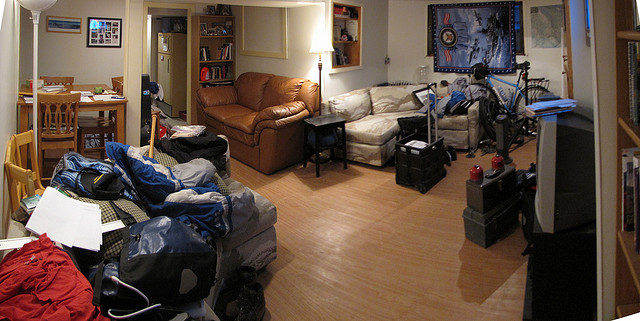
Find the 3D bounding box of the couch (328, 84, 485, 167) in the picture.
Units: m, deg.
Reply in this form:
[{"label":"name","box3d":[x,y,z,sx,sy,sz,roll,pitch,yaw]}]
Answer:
[{"label":"couch","box3d":[1.511,-0.792,7.654,2.076,0.916,2.119,9,19,37]}]

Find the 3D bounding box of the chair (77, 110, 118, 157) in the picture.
[{"label":"chair","box3d":[-3.635,-0.427,6.751,0.464,0.778,0.482,-10,15,-43]}]

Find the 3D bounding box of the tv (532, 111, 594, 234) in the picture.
[{"label":"tv","box3d":[2.711,0.119,4.571,0.640,1.262,0.450,-2,14,4]}]

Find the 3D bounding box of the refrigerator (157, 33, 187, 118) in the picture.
[{"label":"refrigerator","box3d":[-3.886,-2.177,10.158,1.154,1.927,0.853,2,3,43]}]

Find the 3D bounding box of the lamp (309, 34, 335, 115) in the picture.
[{"label":"lamp","box3d":[0.021,-1.635,7.588,0.359,1.230,0.330,-9,13,-43]}]

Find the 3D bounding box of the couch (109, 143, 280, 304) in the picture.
[{"label":"couch","box3d":[-1.417,0.625,4.975,1.542,1.490,1.080,6,17,31]}]

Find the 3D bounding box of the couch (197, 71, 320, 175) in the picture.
[{"label":"couch","box3d":[-1.027,-0.618,7.337,0.915,0.848,1.940,-17,28,-38]}]

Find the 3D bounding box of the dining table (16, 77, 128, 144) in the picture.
[{"label":"dining table","box3d":[-4.124,-1.008,6.772,1.641,0.878,1.587,-6,13,-34]}]

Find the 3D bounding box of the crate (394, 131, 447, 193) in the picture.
[{"label":"crate","box3d":[1.561,0.050,6.554,1.059,1.159,0.538,-1,0,7]}]
